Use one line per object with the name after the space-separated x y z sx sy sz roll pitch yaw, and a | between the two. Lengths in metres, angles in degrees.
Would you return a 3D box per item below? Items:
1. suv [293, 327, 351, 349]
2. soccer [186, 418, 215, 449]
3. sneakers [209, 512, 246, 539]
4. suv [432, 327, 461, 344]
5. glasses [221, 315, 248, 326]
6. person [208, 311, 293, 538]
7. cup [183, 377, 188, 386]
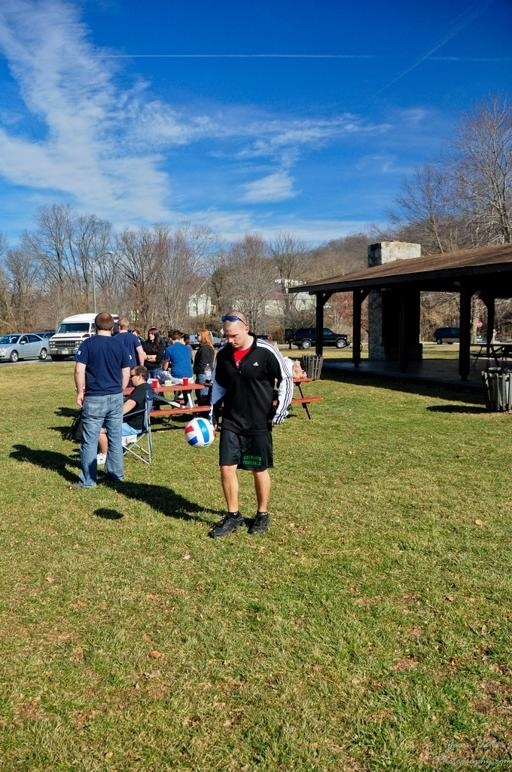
3.967 -2.858 36.695 3.148 1.262 1.553 -3 7 0 | suv
-0.448 0.370 4.680 0.234 0.232 0.229 5 -2 -37 | soccer
-0.228 1.041 4.451 0.117 0.129 0.303 13 8 34 | sneakers
14.157 -3.817 43.408 1.604 1.202 2.355 -1 4 13 | suv
-0.155 -0.474 4.154 0.156 0.081 0.221 -2 4 -4 | glasses
-0.078 0.287 4.386 0.576 1.671 0.537 -4 5 -29 | person
-1.148 -0.098 9.650 0.096 0.109 0.097 0 2 0 | cup
